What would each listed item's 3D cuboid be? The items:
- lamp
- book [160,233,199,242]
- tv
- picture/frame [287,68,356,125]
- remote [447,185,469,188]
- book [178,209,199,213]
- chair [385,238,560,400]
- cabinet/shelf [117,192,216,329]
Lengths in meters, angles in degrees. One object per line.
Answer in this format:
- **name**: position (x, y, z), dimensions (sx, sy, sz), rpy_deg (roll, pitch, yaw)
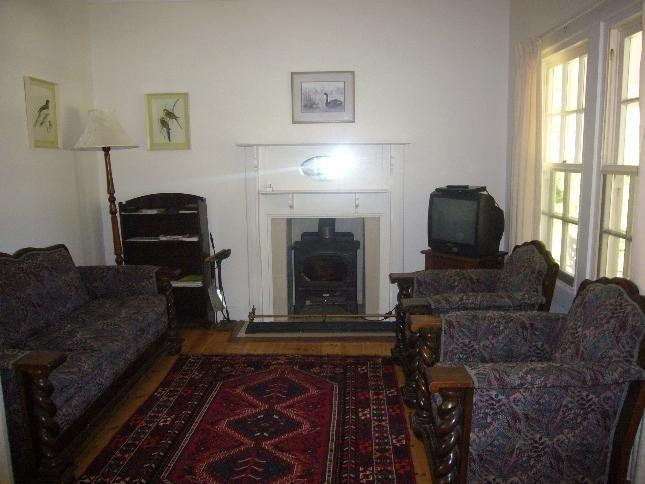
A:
- **lamp**: position (-1.990, -0.495, 4.505), dimensions (0.525, 1.436, 0.670), rpy_deg (-8, 16, -26)
- **book**: position (-1.395, -0.046, 4.693), dimensions (0.400, 0.067, 0.088), rpy_deg (0, 15, 2)
- **tv**: position (1.274, -0.197, 4.262), dimensions (0.433, 0.598, 0.574), rpy_deg (-12, 16, -35)
- **picture/frame**: position (-0.008, -1.441, 4.676), dimensions (0.493, 0.381, 0.019), rpy_deg (0, 6, 0)
- **remote**: position (1.173, -0.485, 4.191), dimensions (0.177, 0.020, 0.203), rpy_deg (4, 15, 15)
- **book**: position (-1.294, -0.290, 4.635), dimensions (0.226, 0.043, 0.052), rpy_deg (7, 16, 26)
- **chair**: position (1.023, 0.397, 3.828), dimensions (1.118, 1.418, 1.122), rpy_deg (1, 12, 1)
- **cabinet/shelf**: position (-1.516, 0.149, 4.664), dimensions (0.737, 1.223, 0.393), rpy_deg (-2, 10, -12)
